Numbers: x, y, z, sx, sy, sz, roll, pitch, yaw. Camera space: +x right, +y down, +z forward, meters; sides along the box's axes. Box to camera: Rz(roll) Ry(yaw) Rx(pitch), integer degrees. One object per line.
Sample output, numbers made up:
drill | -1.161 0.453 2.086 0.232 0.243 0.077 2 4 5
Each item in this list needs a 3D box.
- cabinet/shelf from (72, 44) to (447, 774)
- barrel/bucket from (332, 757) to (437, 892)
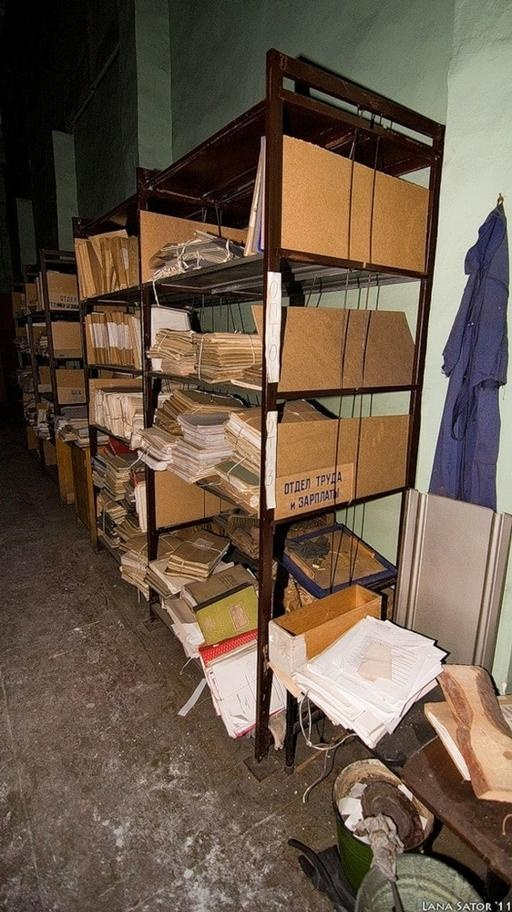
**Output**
cabinet/shelf | -0.207 -0.203 2.827 0.643 2.253 2.090 -2 10 -29
barrel/bucket | 0.346 0.989 1.562 0.213 0.380 0.244 18 53 25
